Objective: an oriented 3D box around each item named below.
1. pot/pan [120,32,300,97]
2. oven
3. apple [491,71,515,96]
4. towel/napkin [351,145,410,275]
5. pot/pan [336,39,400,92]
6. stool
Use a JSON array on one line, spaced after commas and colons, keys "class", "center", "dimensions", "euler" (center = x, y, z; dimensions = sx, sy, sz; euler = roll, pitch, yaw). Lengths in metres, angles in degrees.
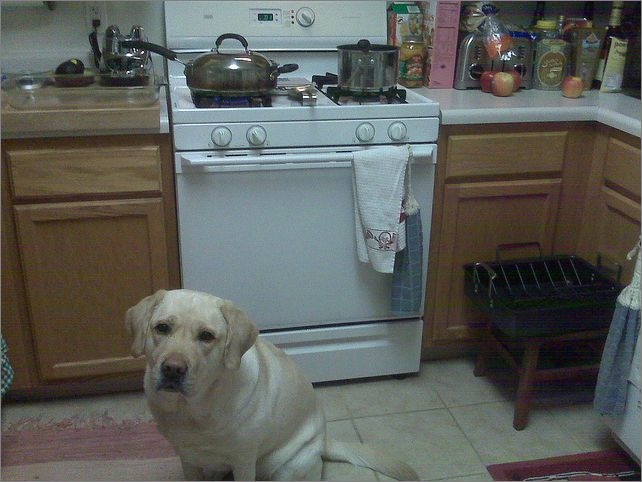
[{"class": "pot/pan", "center": [-0.384, -0.559, 1.807], "dimensions": [0.445, 0.141, 0.241], "euler": [3, 18, 2]}, {"class": "oven", "center": [0.089, -0.074, 2.295], "dimensions": [1.147, 1.120, 0.792], "euler": [-3, 18, -11]}, {"class": "apple", "center": [0.707, -0.608, 2.092], "dimensions": [0.086, 0.085, 0.114], "euler": [7, 25, 17]}, {"class": "towel/napkin", "center": [0.194, -0.104, 1.802], "dimensions": [0.183, 0.398, 0.157], "euler": [2, 25, 7]}, {"class": "pot/pan", "center": [0.162, -0.586, 1.856], "dimensions": [0.199, 0.141, 0.186], "euler": [1, 16, 5]}, {"class": "stool", "center": [0.808, 0.420, 2.009], "dimensions": [0.397, 0.342, 0.367], "euler": [-4, 27, -11]}]
